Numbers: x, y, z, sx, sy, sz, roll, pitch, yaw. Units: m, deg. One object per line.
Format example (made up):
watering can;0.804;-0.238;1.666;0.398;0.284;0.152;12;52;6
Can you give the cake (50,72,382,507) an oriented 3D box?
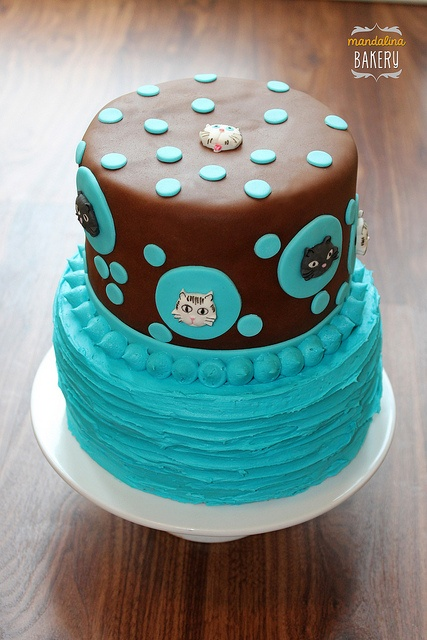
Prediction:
cake;-0.005;-0.057;1.188;0.643;0.563;0.613;-3;25;-15
